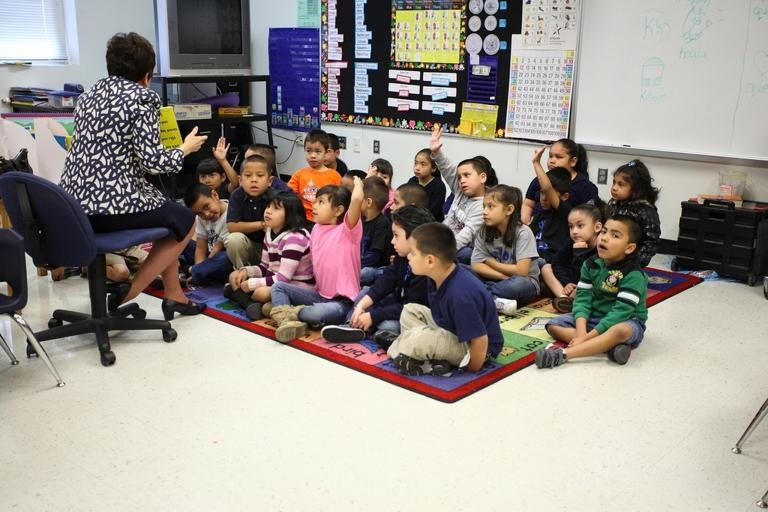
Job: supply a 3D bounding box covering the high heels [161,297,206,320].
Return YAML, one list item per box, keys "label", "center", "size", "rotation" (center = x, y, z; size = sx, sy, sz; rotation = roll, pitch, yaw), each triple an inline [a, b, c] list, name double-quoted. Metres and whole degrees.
- label: "high heels"
  center: [-1.135, 0.293, 3.191]
  size: [0.091, 0.120, 0.270]
  rotation: [10, 16, 40]

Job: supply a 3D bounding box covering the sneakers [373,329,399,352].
- label: "sneakers"
  center: [0.007, 0.414, 2.753]
  size: [0.074, 0.061, 0.165]
  rotation: [-5, 6, -29]

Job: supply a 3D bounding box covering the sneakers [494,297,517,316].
- label: "sneakers"
  center: [0.694, 0.277, 3.204]
  size: [0.090, 0.076, 0.209]
  rotation: [27, -7, -19]

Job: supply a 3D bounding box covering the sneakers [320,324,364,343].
- label: "sneakers"
  center: [-0.218, 0.397, 2.879]
  size: [0.222, 0.089, 0.094]
  rotation: [3, 22, -6]

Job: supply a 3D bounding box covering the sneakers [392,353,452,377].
- label: "sneakers"
  center: [0.180, 0.489, 2.575]
  size: [0.184, 0.072, 0.119]
  rotation: [3, -5, -29]

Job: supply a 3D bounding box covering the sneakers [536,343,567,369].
- label: "sneakers"
  center: [0.818, 0.490, 2.734]
  size: [0.070, 0.088, 0.194]
  rotation: [10, 10, 44]

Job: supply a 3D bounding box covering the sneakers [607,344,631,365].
- label: "sneakers"
  center: [1.135, 0.473, 2.707]
  size: [0.063, 0.055, 0.152]
  rotation: [0, -9, 38]

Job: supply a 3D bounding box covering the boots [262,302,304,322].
- label: "boots"
  center: [-0.547, 0.301, 2.996]
  size: [0.145, 0.064, 0.143]
  rotation: [-1, 4, -42]

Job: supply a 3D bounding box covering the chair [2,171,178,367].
- label: "chair"
  center: [-1.452, -0.045, 3.007]
  size: [0.852, 1.000, 0.924]
  rotation: [10, 13, 35]
